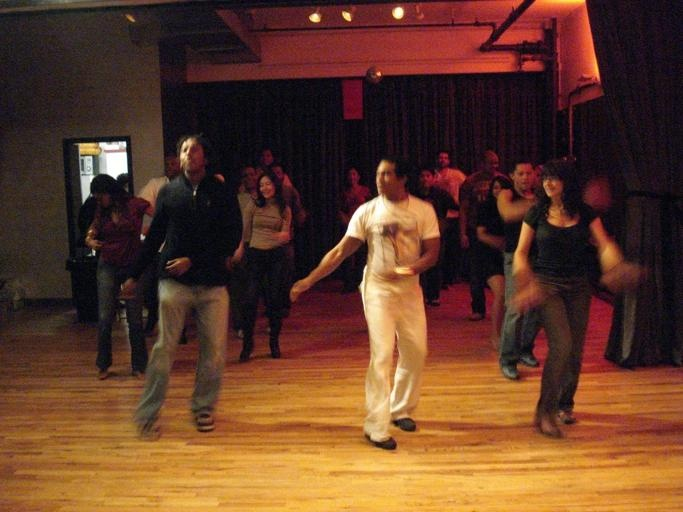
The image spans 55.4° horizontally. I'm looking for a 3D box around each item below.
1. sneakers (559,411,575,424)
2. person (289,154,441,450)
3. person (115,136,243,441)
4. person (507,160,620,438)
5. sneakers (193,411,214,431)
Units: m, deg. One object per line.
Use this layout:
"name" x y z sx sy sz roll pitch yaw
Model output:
"sneakers" 1.792 1.293 5.181 0.076 0.046 0.110 0 10 3
"person" 0.296 0.349 4.936 0.875 2.126 0.551 0 10 9
"person" -1.221 0.236 5.150 0.889 2.313 0.390 -3 10 -10
"person" 1.724 0.313 5.058 0.822 2.079 0.544 -1 10 5
"sneakers" -1.087 1.327 5.204 0.123 0.148 0.044 1 -4 3
